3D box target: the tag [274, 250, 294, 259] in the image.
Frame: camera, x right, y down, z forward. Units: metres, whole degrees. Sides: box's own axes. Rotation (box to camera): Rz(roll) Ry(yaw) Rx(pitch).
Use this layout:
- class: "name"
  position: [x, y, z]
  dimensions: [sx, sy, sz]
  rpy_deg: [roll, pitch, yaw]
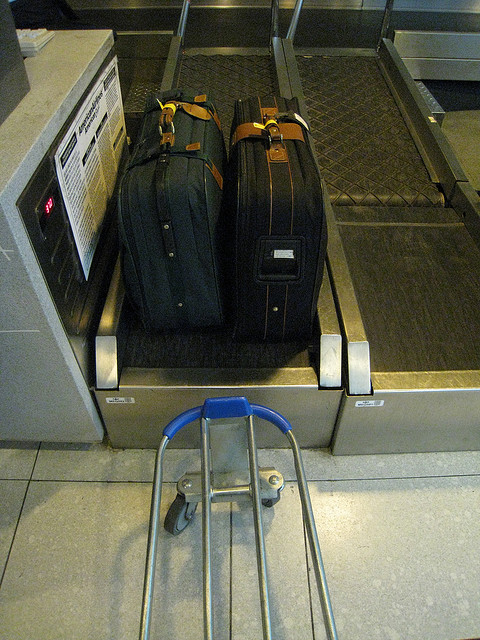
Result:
- class: "tag"
  position: [0.116, -0.178, 1.283]
  dimensions: [0.035, 0.021, 0.009]
  rpy_deg: [1, 9, -3]

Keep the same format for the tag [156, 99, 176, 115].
- class: "tag"
  position: [-0.227, -0.673, 1.492]
  dimensions: [0.037, 0.024, 0.046]
  rpy_deg: [-15, 24, -38]

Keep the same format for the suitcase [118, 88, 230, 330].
- class: "suitcase"
  position: [-0.137, -0.312, 1.603]
  dimensions: [0.292, 0.615, 0.684]
  rpy_deg: [-5, 16, 12]

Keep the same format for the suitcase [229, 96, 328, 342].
- class: "suitcase"
  position: [0.100, -0.257, 1.342]
  dimensions: [0.205, 0.522, 0.682]
  rpy_deg: [1, 65, 0]
